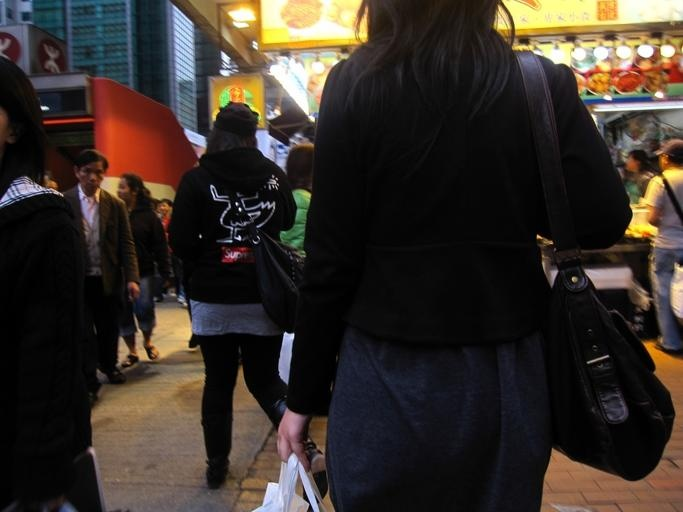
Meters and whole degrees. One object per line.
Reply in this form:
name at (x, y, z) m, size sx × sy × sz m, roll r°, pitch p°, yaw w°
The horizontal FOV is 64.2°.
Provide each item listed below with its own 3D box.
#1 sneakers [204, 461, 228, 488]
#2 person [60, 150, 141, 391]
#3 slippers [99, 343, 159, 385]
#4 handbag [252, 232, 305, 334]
sneakers at (-0.761, 1.342, 3.399) m, size 0.160 × 0.164 × 0.148 m, roll 0°, pitch -9°, yaw -1°
person at (-2.340, 0.147, 5.230) m, size 0.760 × 2.232 × 0.663 m, roll -8°, pitch 26°, yaw -26°
slippers at (-2.291, 1.174, 5.732) m, size 0.210 × 0.157 × 0.586 m, roll 2°, pitch 13°, yaw 13°
handbag at (-0.347, 0.158, 2.888) m, size 0.169 × 0.471 × 0.428 m, roll -32°, pitch -43°, yaw 22°
